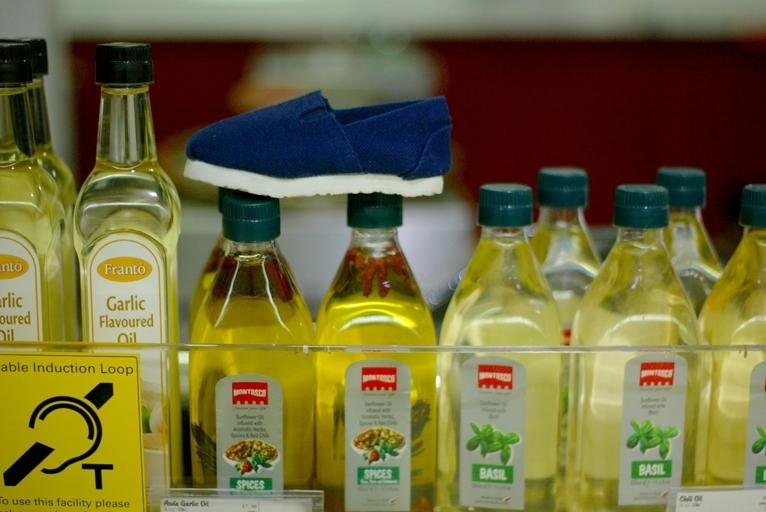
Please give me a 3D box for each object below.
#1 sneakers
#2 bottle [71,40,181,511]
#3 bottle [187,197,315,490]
[{"bbox_3d":[-0.066,-0.120,0.996,0.337,0.112,0.117,2,3,-5],"label":"sneakers"},{"bbox_3d":[-0.278,0.019,0.944,0.115,0.513,0.118,-3,-5,0],"label":"bottle"},{"bbox_3d":[-0.149,0.085,0.947,0.165,0.342,0.138,-4,-5,19],"label":"bottle"}]
